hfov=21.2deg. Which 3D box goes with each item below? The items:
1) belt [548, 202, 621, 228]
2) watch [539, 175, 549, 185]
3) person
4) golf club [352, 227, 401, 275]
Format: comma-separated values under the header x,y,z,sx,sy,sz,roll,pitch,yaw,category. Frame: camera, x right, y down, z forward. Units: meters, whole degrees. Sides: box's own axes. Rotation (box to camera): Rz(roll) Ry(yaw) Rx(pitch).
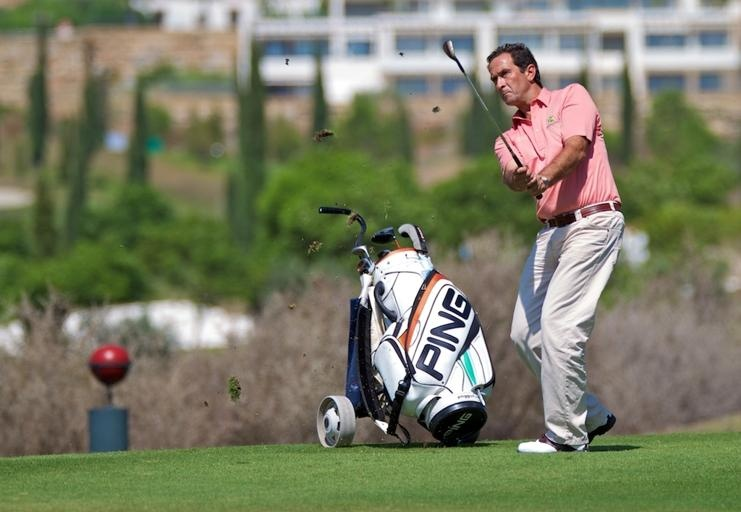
x,y,z,sx,sy,sz,roll,pitch,yaw,category
1.667,-0.325,15.499,0.594,0.183,0.228,-3,3,5,belt
1.335,-0.576,15.152,0.062,0.051,0.054,13,-27,20,watch
1.531,-0.056,15.685,1.053,3.227,1.251,0,4,12,person
0.090,-0.045,16.042,0.416,0.196,0.322,-37,-17,17,golf club
